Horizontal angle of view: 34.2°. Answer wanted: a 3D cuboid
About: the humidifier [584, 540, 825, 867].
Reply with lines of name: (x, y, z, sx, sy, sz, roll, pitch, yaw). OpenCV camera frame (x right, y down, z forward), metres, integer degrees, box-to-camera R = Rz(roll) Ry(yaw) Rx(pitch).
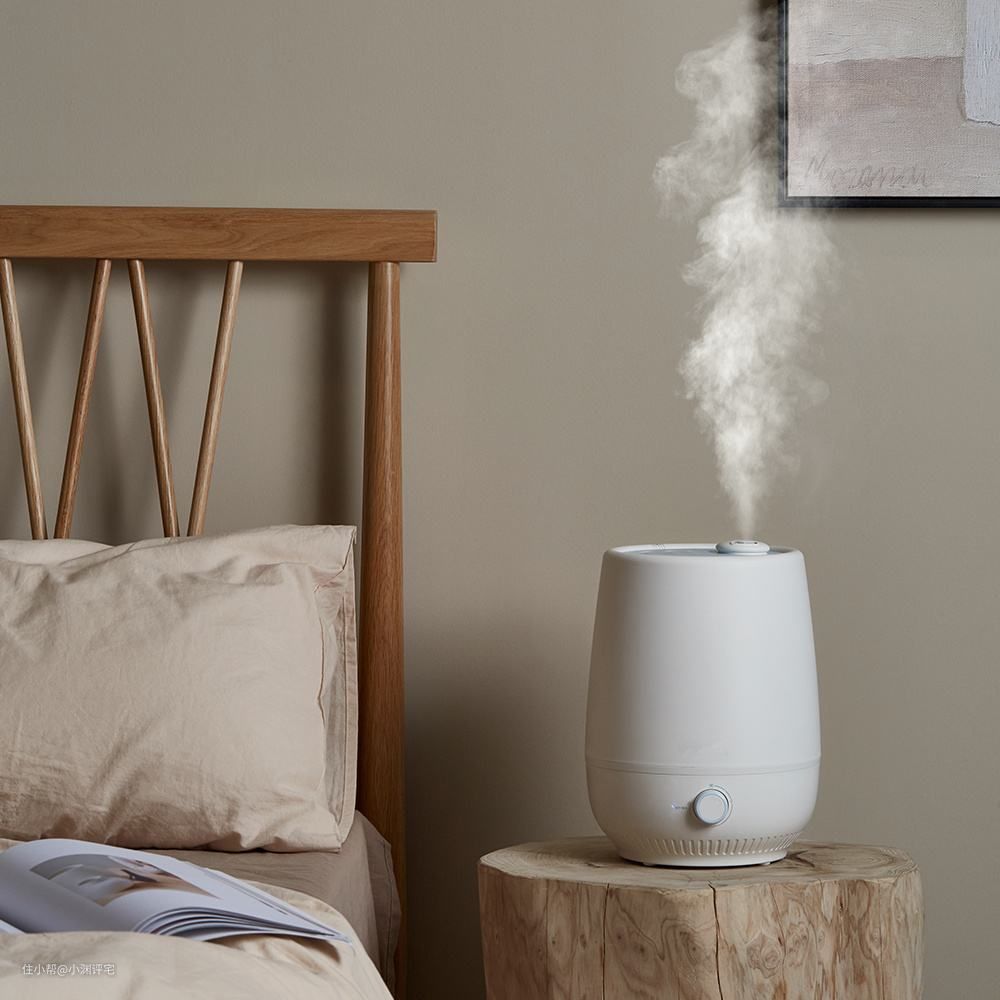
humidifier: (0.208, 0.209, 1.659, 0.237, 0.328, 0.227, -1, 4, 7)
